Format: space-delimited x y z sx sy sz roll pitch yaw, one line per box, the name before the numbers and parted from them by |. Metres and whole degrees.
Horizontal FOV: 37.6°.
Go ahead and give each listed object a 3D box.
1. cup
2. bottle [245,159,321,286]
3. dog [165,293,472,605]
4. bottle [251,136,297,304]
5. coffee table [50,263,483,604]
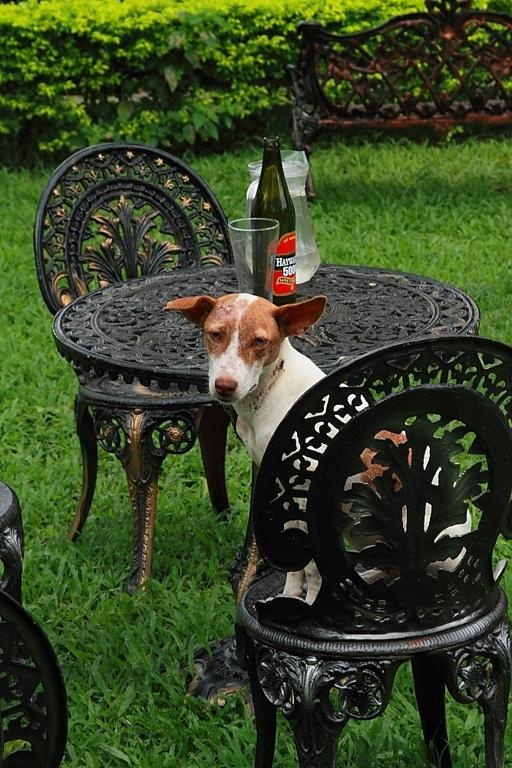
cup | -0.009 -0.274 1.705 0.117 0.195 0.125 -2 24 1
bottle | 0.078 -0.472 2.077 0.154 0.420 0.137 -15 27 -22
dog | 0.104 0.023 1.287 0.388 0.496 0.350 17 24 9
bottle | 0.059 -0.382 1.853 0.143 0.418 0.099 -12 28 -16
coffee table | -0.073 0.017 2.161 1.104 0.684 1.118 26 42 31
